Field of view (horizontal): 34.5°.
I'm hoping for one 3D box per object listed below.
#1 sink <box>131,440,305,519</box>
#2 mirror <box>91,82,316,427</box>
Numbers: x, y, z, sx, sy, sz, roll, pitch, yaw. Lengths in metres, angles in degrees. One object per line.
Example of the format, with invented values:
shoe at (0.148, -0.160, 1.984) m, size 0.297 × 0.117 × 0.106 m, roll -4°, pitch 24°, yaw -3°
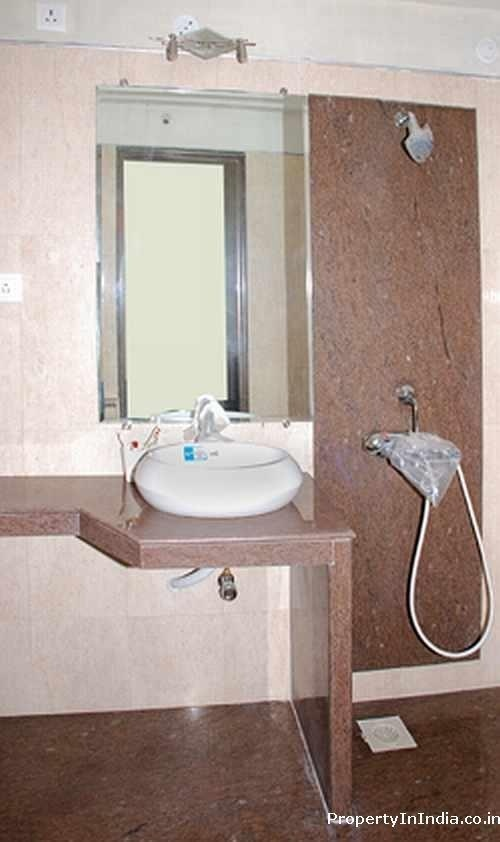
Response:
sink at (-0.088, 0.135, 1.993) m, size 0.398 × 0.137 × 0.403 m, roll -2°, pitch 15°, yaw -10°
mirror at (-0.124, -0.452, 2.221) m, size 0.592 × 0.887 × 0.189 m, roll -1°, pitch 15°, yaw -6°
